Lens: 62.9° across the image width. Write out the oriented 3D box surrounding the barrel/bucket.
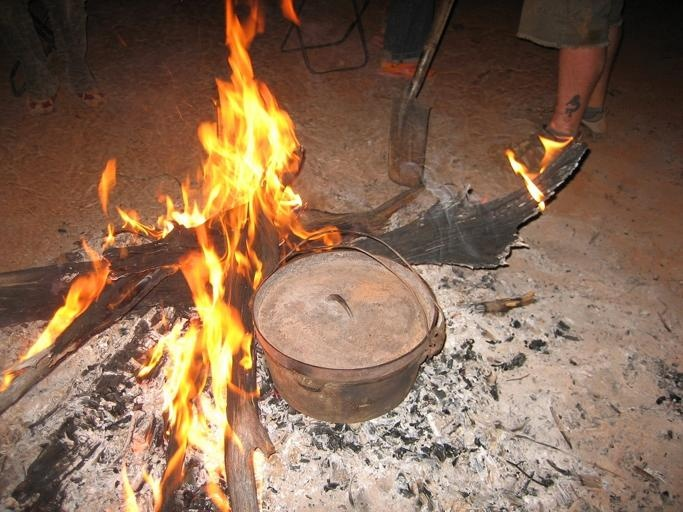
[{"bbox_3d":[0.014,0.362,2.608,0.808,0.640,0.677,-11,48,-11],"label":"barrel/bucket"}]
